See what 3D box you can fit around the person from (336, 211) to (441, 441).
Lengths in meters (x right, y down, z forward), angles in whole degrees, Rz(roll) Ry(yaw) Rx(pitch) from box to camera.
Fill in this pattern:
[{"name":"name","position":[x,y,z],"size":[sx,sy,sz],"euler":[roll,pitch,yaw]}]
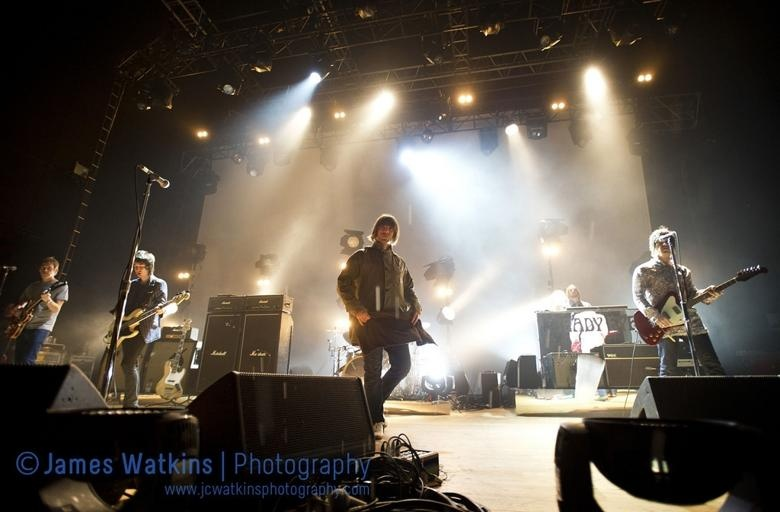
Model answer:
[{"name":"person","position":[-0.082,0.746,5.781],"size":[1.042,2.574,0.585],"euler":[-1,-15,4]}]

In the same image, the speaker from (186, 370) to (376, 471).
[{"name":"speaker","position":[-0.881,1.353,4.176],"size":[0.932,0.728,1.287],"euler":[-25,-33,38]}]

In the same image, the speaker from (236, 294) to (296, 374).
[{"name":"speaker","position":[-2.100,1.303,8.332],"size":[0.834,1.303,0.440],"euler":[5,-15,-18]}]

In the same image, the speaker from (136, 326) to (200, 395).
[{"name":"speaker","position":[-4.046,1.829,9.122],"size":[0.799,1.653,0.240],"euler":[-5,-27,18]}]

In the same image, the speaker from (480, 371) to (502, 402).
[{"name":"speaker","position":[1.902,2.474,9.219],"size":[0.333,0.603,0.246],"euler":[-2,-15,8]}]

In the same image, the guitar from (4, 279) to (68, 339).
[{"name":"guitar","position":[-5.090,0.738,7.070],"size":[0.610,0.821,0.351],"euler":[-4,-15,16]}]

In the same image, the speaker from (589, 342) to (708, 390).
[{"name":"speaker","position":[3.609,1.508,6.802],"size":[0.996,0.495,0.650],"euler":[-2,-14,10]}]

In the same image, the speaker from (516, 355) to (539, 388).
[{"name":"speaker","position":[2.567,2.132,9.056],"size":[0.421,0.587,0.195],"euler":[-3,-15,14]}]

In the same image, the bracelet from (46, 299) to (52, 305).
[{"name":"bracelet","position":[-4.848,0.644,6.978],"size":[0.075,0.047,0.025],"euler":[9,-17,-31]}]

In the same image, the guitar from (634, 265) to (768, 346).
[{"name":"guitar","position":[4.006,0.699,6.543],"size":[1.299,0.896,0.502],"euler":[-4,-15,15]}]
